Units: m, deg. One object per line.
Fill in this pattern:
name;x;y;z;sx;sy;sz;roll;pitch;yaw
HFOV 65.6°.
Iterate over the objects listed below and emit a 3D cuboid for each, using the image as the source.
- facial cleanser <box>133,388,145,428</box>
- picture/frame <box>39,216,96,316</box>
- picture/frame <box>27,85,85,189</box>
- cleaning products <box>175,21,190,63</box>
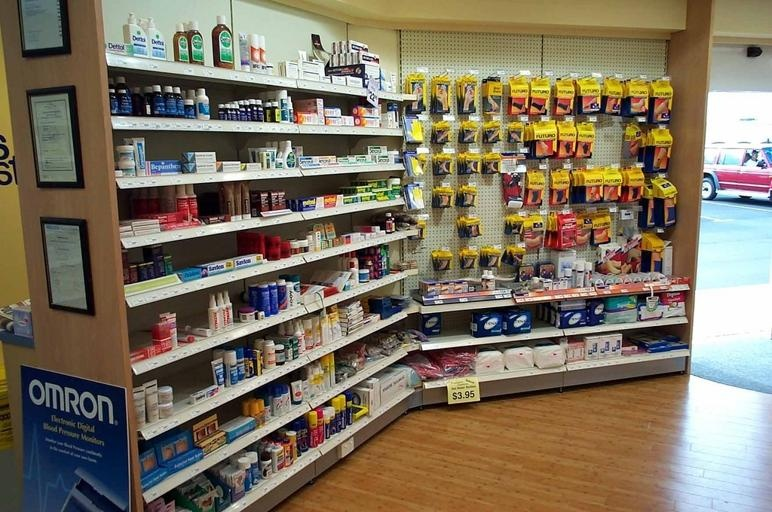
facial cleanser;-1.658;1.025;4.061;0.060;0.263;0.093;-1;14;2
picture/frame;-2.095;0.040;3.980;0.659;0.782;0.061;8;16;25
picture/frame;-2.135;-0.770;3.898;0.448;0.636;0.130;6;17;28
cleaning products;-1.443;-1.511;4.245;0.111;0.276;0.192;-6;15;-16
